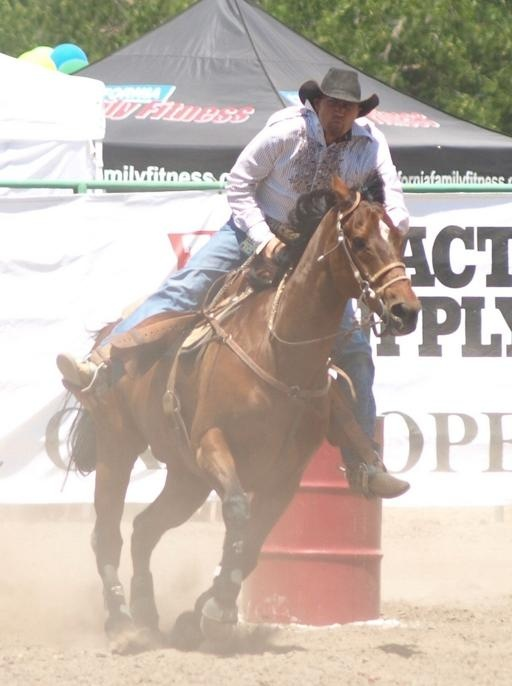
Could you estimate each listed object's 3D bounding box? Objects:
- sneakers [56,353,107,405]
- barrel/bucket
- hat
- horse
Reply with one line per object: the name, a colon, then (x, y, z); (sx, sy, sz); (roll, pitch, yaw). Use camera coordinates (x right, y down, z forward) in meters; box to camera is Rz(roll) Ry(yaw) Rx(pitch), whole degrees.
sneakers: (-1.021, 0.180, 5.309); (0.207, 0.150, 0.459); (-13, 27, -19)
barrel/bucket: (0.315, 1.087, 5.221); (1.049, 1.237, 0.927); (2, -10, 0)
hat: (0.391, -1.138, 4.153); (0.334, 0.125, 0.333); (11, 10, 10)
horse: (-0.195, 0.383, 4.422); (0.755, 2.259, 2.083); (-2, 9, -30)
